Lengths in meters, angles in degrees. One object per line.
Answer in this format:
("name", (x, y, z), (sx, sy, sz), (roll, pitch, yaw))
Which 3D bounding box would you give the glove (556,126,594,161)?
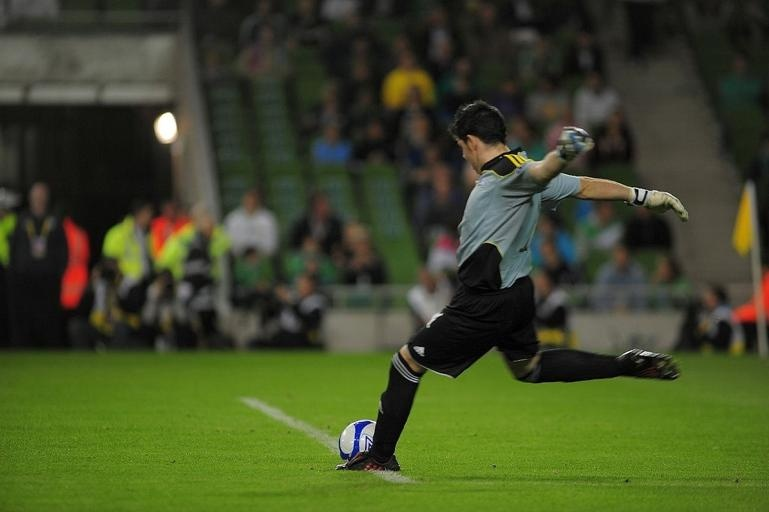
("glove", (1.564, -0.915, 8.068), (0.334, 0.290, 0.215), (3, 0, -41))

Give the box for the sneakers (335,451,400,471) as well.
("sneakers", (-0.140, 1.781, 8.672), (0.537, 0.216, 0.204), (3, -6, -2))

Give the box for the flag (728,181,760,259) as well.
("flag", (7.247, -0.759, 19.801), (0.386, 1.482, 0.918), (3, 0, 20))

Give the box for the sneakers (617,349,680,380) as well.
("sneakers", (2.320, 0.985, 8.702), (0.445, 0.198, 0.273), (7, -21, 21))

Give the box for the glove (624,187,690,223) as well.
("glove", (2.376, -0.447, 8.547), (0.476, 0.283, 0.481), (4, 1, 21))
